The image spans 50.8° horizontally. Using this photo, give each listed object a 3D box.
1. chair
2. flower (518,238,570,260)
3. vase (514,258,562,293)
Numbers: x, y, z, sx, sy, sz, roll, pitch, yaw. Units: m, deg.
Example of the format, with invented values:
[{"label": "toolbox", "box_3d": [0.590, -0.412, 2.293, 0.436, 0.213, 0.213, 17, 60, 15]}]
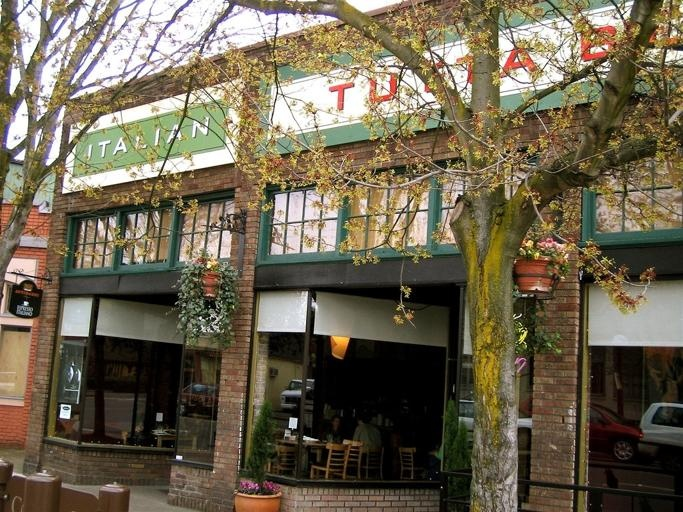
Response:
[{"label": "chair", "box_3d": [0.203, 3.261, 12.016, 2.833, 0.913, 0.574, 7, -15, -16]}, {"label": "flower", "box_3d": [2.450, -0.073, 8.773, 0.383, 0.194, 0.388, 3, -4, -30]}, {"label": "vase", "box_3d": [2.364, 0.233, 8.769, 0.444, 0.328, 0.458, 3, -16, 0]}]
